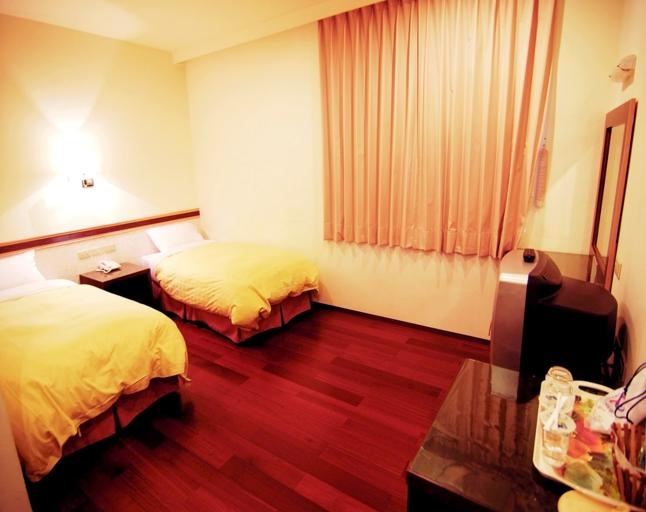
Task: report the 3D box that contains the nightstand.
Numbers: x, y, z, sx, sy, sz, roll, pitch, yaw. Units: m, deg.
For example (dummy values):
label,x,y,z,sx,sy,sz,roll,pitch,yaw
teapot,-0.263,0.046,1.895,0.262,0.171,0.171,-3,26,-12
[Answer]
label,x,y,z,sx,sy,sz,roll,pitch,yaw
nightstand,-2.093,0.233,4.761,0.468,0.523,0.477,15,25,25

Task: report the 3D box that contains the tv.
label,x,y,z,sx,sy,sz,roll,pitch,yaw
tv,1.366,0.406,2.844,0.727,1.085,0.705,9,24,33

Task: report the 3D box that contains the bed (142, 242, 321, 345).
label,x,y,z,sx,sy,sz,roll,pitch,yaw
bed,-1.015,0.223,4.577,1.247,0.466,1.009,14,24,32
